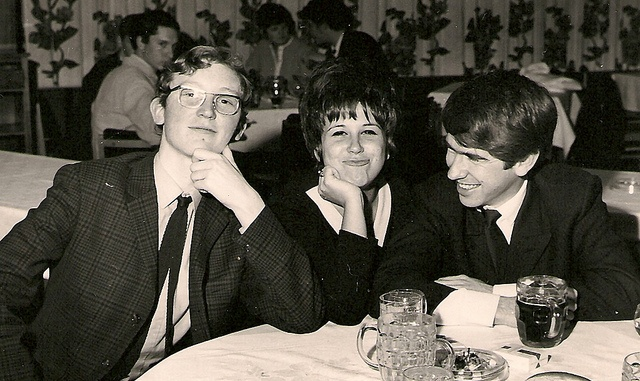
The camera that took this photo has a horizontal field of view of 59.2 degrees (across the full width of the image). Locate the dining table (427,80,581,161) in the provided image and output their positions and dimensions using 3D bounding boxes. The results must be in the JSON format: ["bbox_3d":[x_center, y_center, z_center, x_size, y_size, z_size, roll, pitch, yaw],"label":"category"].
[{"bbox_3d":[2.137,-0.680,6.131,1.467,0.647,1.460,-4,-2,11],"label":"dining table"}]

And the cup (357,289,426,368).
[{"bbox_3d":[0.240,0.578,2.076,0.222,0.219,0.124,-8,-24,29],"label":"cup"}]

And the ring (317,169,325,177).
[{"bbox_3d":[0.006,-0.088,2.746,0.013,0.036,0.038,4,-4,-30],"label":"ring"}]

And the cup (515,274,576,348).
[{"bbox_3d":[0.870,0.493,2.228,0.198,0.255,0.268,1,4,9],"label":"cup"}]
